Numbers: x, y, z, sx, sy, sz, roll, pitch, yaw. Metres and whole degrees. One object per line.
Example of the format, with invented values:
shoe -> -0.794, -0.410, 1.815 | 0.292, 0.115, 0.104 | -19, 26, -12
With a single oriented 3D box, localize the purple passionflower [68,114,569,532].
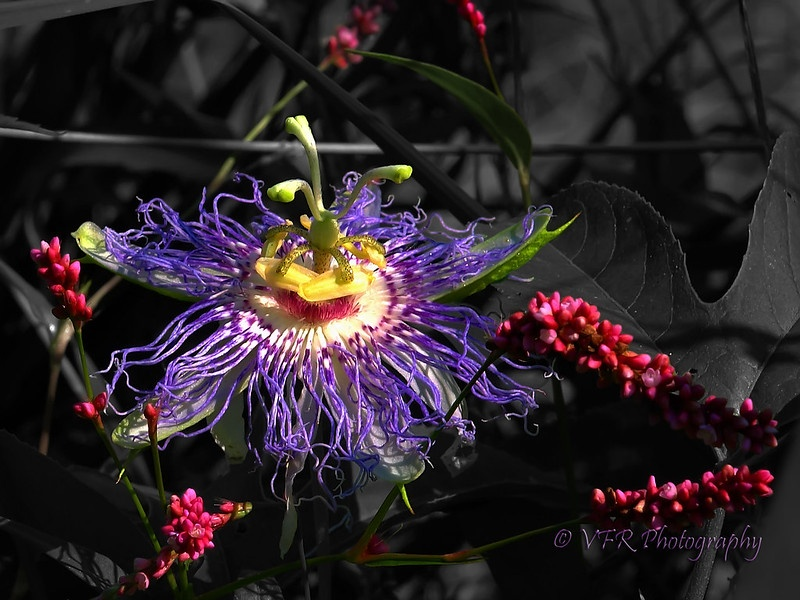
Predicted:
purple passionflower -> -0.103, -0.042, 1.311 | 0.596, 0.217, 0.526 | 1, -15, -10

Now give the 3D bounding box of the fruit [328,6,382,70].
fruit -> -0.071, -0.416, 1.563 | 0.065, 0.103, 0.039 | 12, -17, 17

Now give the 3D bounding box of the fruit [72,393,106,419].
fruit -> -0.329, 0.111, 1.057 | 0.027, 0.032, 0.043 | 20, -16, -9

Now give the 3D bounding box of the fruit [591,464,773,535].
fruit -> 0.287, 0.202, 1.050 | 0.198, 0.073, 0.073 | -5, -41, 17
